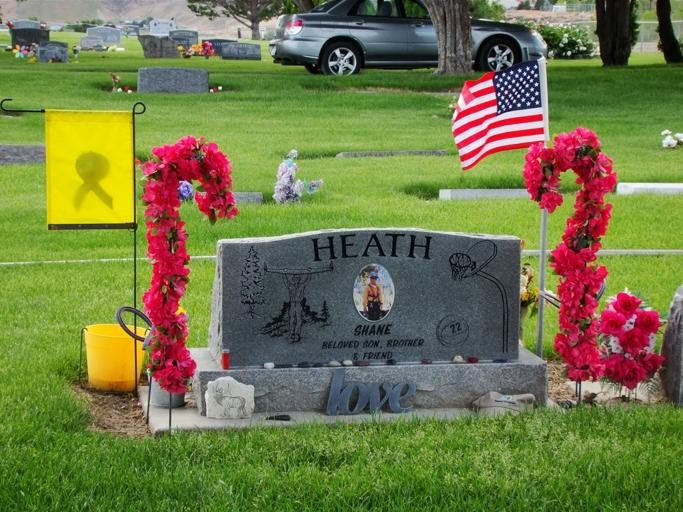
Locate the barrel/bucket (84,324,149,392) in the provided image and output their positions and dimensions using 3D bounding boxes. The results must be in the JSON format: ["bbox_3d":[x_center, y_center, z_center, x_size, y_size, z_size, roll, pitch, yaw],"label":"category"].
[{"bbox_3d":[-4.188,1.909,30.769,1.211,1.159,1.273,-4,-6,0],"label":"barrel/bucket"}]
